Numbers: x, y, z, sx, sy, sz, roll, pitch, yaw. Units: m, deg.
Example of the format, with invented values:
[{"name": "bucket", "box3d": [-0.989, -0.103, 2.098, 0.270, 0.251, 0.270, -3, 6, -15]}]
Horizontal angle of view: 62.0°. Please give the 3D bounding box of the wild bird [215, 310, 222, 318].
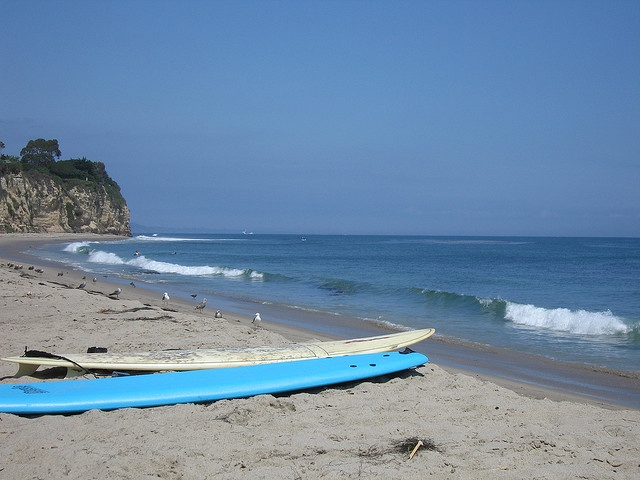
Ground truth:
[{"name": "wild bird", "box3d": [-2.669, 1.916, 13.991, 0.227, 0.223, 0.242, -3, -14, -2]}]
